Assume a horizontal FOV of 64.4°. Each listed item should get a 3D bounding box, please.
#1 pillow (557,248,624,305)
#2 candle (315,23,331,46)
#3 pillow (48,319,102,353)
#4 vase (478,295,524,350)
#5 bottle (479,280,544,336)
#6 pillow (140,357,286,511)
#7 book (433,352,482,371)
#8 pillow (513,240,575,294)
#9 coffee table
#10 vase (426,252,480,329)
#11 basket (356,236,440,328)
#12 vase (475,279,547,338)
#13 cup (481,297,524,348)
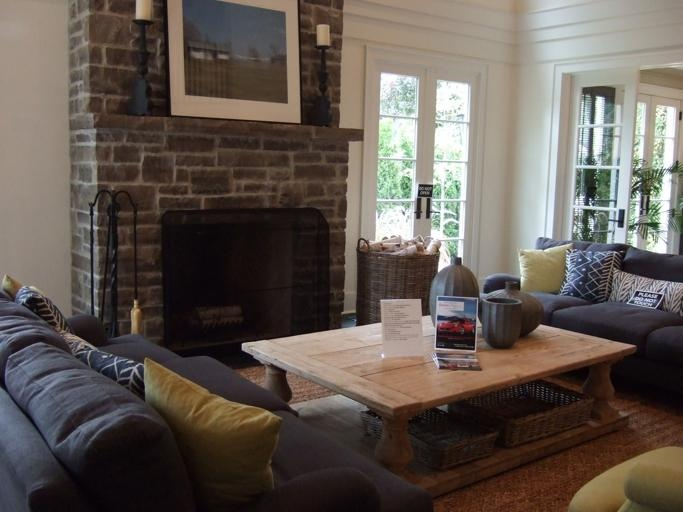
[{"bbox_3d":[2.086,0.139,4.546,0.472,0.438,0.177,8,-13,37],"label":"pillow"},{"bbox_3d":[-0.152,-1.857,4.603,0.127,0.234,0.283,-1,5,-1],"label":"candle"},{"bbox_3d":[-1.245,0.372,2.532,0.294,0.075,0.087,27,20,17],"label":"pillow"},{"bbox_3d":[0.928,0.399,3.133,0.249,0.251,0.232,2,0,-3],"label":"vase"},{"bbox_3d":[1.099,0.301,3.404,0.422,0.319,0.394,0,2,0],"label":"bottle"},{"bbox_3d":[-0.393,0.549,1.656,0.395,0.271,0.151,20,21,31],"label":"pillow"},{"bbox_3d":[0.606,0.553,2.858,0.241,0.037,0.243,0,4,7],"label":"book"},{"bbox_3d":[1.814,0.104,4.805,0.576,0.493,0.197,-2,-25,16],"label":"pillow"},{"bbox_3d":[0.314,0.841,2.893,1.403,0.340,1.182,-7,10,-38],"label":"coffee table"},{"bbox_3d":[0.685,0.225,3.353,0.359,0.442,0.337,3,11,-5],"label":"vase"},{"bbox_3d":[0.438,0.145,5.172,1.021,1.105,0.763,1,6,4],"label":"basket"},{"bbox_3d":[1.076,0.334,3.414,0.438,0.339,0.403,-1,-1,1],"label":"vase"},{"bbox_3d":[0.891,0.370,3.039,0.279,0.282,0.268,0,0,0],"label":"cup"}]
